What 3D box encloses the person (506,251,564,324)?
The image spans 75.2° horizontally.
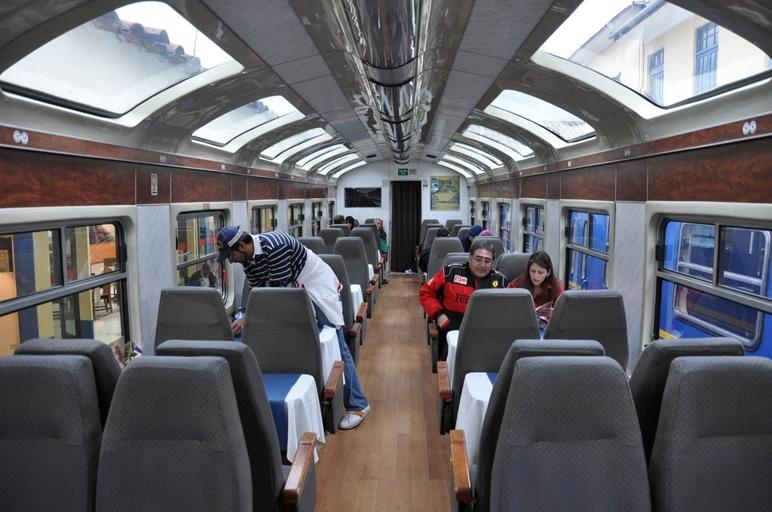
[{"bbox_3d":[1.623,0.527,5.439,0.556,1.039,0.529,0,18,18],"label":"person"}]

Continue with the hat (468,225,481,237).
[{"bbox_3d":[1.579,-0.457,8.905,0.200,0.124,0.152,7,41,-3],"label":"hat"}]
